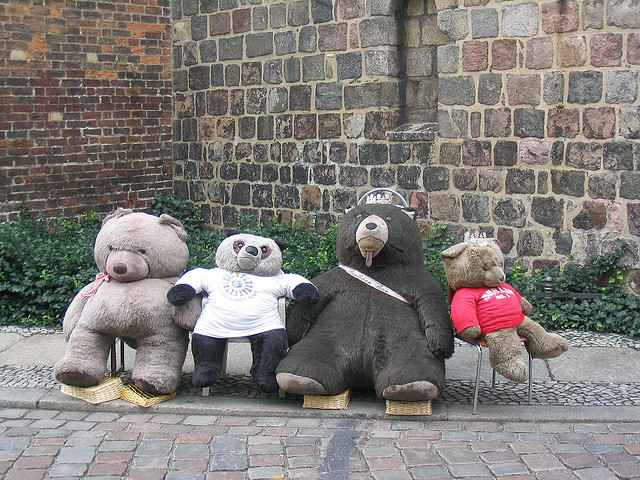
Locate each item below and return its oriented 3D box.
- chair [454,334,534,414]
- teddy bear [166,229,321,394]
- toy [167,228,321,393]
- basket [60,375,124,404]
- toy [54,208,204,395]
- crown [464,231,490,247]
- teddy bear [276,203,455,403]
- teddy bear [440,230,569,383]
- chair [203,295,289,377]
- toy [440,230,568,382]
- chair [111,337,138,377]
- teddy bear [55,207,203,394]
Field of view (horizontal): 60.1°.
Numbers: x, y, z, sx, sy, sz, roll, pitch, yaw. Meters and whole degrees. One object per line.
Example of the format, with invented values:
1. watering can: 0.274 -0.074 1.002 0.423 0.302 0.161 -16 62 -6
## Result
1. chair: 1.389 0.985 4.306 0.563 0.512 0.621 0 1 -2
2. teddy bear: -0.616 0.614 4.362 1.259 1.324 0.525 3 -13 -3
3. toy: -0.616 0.610 4.374 1.243 1.304 0.498 4 -16 -4
4. basket: -1.690 1.140 4.179 0.258 0.068 0.257 2 -1 -39
5. toy: -1.454 0.441 4.448 1.243 1.352 0.963 1 6 -5
6. crown: 1.197 -0.011 4.259 0.115 0.060 0.156 0 6 -17
7. teddy bear: 0.365 0.425 4.271 1.389 1.490 1.217 -1 0 24
8. teddy bear: 1.384 0.438 4.176 0.734 0.992 0.913 -19 20 -40
9. chair: -0.524 0.814 4.658 0.707 0.944 0.715 2 -1 -4
10. toy: 1.395 0.449 4.185 0.701 0.948 0.931 -17 21 -37
11. chair: -1.731 0.968 4.775 0.114 0.200 0.152 -25 -15 20
12. teddy bear: -1.479 0.452 4.452 1.259 1.329 0.949 2 6 0
